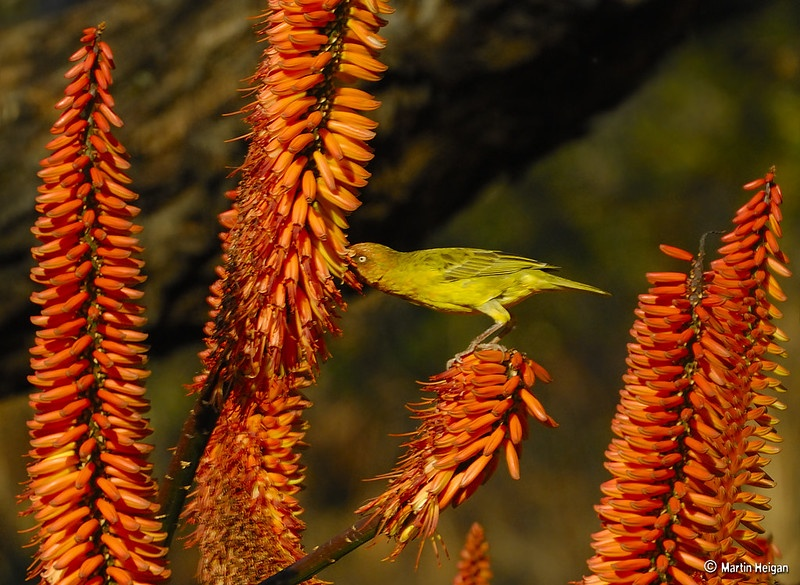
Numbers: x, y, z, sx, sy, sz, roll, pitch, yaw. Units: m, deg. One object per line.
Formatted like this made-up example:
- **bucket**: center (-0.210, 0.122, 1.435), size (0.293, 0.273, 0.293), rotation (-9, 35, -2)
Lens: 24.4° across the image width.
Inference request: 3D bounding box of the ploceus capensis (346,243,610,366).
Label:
- **ploceus capensis**: center (0.165, -0.033, 5.934), size (0.454, 0.557, 1.009), rotation (5, 7, 42)
